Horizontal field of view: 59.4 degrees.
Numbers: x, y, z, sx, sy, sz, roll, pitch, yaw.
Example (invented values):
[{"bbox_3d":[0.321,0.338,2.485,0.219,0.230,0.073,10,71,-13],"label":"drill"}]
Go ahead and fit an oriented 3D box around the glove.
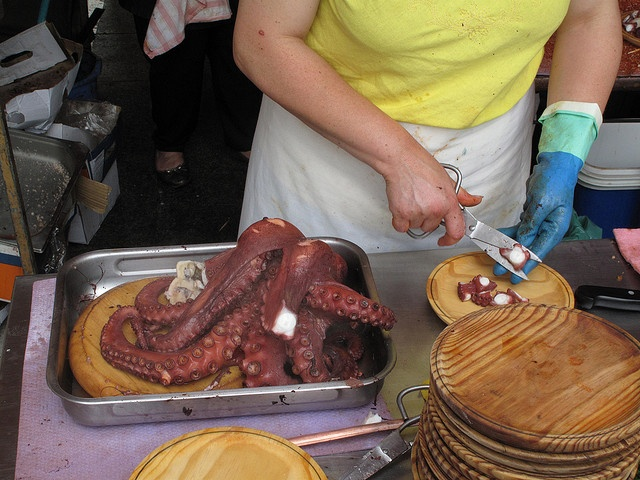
[{"bbox_3d":[0.776,-0.150,1.924,0.339,0.185,0.628,11,92,32],"label":"glove"}]
